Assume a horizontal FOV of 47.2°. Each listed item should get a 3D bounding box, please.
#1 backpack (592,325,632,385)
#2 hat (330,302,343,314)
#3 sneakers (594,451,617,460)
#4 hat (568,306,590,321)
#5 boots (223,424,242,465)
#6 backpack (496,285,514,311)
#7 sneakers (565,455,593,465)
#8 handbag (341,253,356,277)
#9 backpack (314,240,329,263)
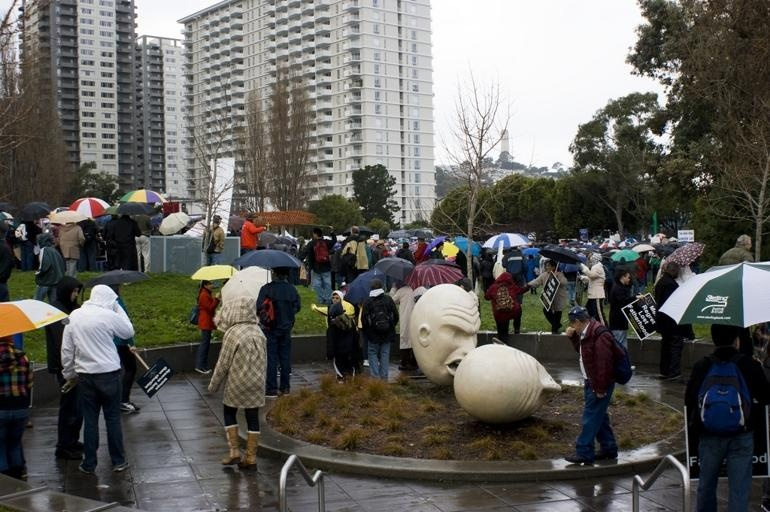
[{"bbox_3d":[4.260,1.826,16.228,0.795,1.099,0.320,1,-1,-34],"label":"backpack"},{"bbox_3d":[-1.165,1.293,21.221,0.266,0.292,0.212,-6,-16,36],"label":"hat"},{"bbox_3d":[4.136,3.725,16.474,0.408,0.190,0.156,3,-4,3],"label":"sneakers"},{"bbox_3d":[3.631,1.066,16.329,0.235,0.297,0.320,-4,12,-30],"label":"hat"},{"bbox_3d":[-2.903,3.550,16.779,0.321,0.740,0.777,1,-1,-10],"label":"boots"},{"bbox_3d":[3.168,1.157,23.359,0.436,0.575,0.219,3,-1,-2],"label":"backpack"},{"bbox_3d":[3.575,3.763,16.182,0.448,0.208,0.170,5,-7,20],"label":"sneakers"},{"bbox_3d":[-1.140,0.254,27.997,0.384,0.756,0.614,-8,9,-25],"label":"handbag"},{"bbox_3d":[-2.028,-0.119,27.919,0.581,0.815,0.418,1,-9,-25],"label":"backpack"}]
